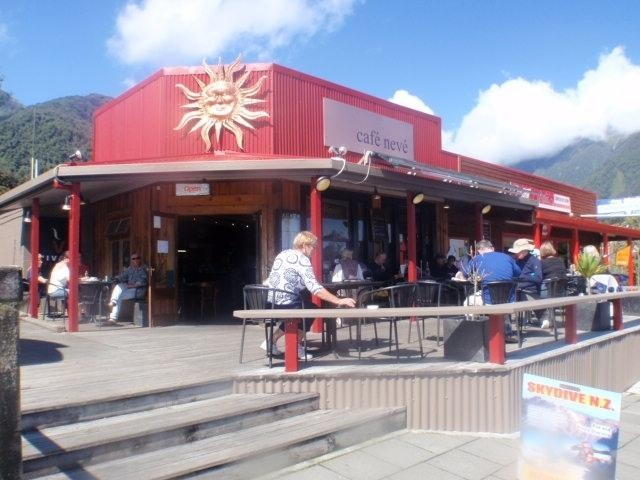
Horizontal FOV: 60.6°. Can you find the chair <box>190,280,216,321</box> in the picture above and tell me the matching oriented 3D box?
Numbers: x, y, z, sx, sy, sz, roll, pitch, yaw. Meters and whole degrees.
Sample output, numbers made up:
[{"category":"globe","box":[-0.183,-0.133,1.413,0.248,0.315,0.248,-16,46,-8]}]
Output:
[{"category":"chair","box":[-2.499,1.296,12.378,0.630,1.012,0.559,-1,-2,36]}]

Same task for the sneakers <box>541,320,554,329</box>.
[{"category":"sneakers","box":[3.269,1.211,7.935,0.109,0.156,0.187,1,-10,-17]}]

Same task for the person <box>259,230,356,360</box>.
[{"category":"person","box":[-0.115,0.617,6.362,1.074,1.460,0.862,4,2,38]}]

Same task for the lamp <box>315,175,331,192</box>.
[{"category":"lamp","box":[0.034,-0.948,9.031,0.228,0.263,0.201,1,-4,-1]}]

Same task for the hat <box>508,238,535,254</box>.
[{"category":"hat","box":[3.657,0.082,10.004,0.536,0.321,0.436,-1,0,14]}]

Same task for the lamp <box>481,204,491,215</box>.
[{"category":"lamp","box":[3.959,-0.774,13.063,0.174,0.042,0.182,-42,14,27]}]

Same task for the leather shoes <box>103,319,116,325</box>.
[{"category":"leather shoes","box":[-3.790,1.462,9.894,0.142,0.140,0.310,4,-11,-35]}]

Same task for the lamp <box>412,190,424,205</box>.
[{"category":"lamp","box":[1.947,-0.892,10.951,0.209,0.050,0.225,-35,18,30]}]
